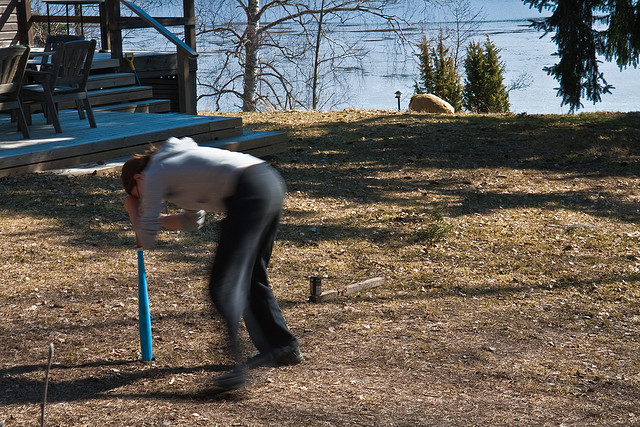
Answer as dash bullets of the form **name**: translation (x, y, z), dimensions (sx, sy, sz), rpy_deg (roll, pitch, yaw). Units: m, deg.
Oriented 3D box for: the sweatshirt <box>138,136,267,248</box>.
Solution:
- **sweatshirt**: translation (-1.318, -0.207, 8.384), dimensions (1.209, 1.116, 0.339), rpy_deg (-1, 12, -7)
